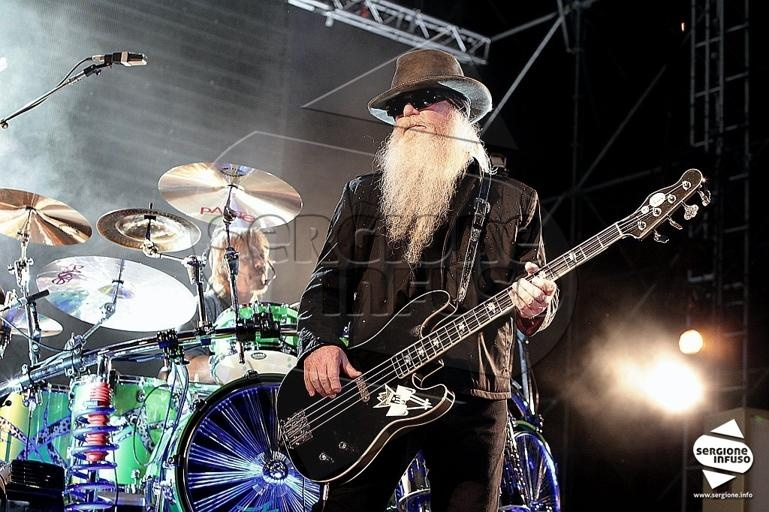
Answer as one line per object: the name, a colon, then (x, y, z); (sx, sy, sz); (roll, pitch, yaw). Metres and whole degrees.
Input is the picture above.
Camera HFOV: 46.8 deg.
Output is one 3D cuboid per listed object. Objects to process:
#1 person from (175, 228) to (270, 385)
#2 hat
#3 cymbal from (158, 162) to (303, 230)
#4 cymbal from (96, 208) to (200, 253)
person: (-1.477, 0.383, 8.292); (0.946, 1.370, 0.496); (20, 13, 13)
hat: (0.390, -1.169, 6.078); (0.692, 0.259, 0.589); (21, -38, -40)
cymbal: (-1.257, -0.545, 7.493); (1.004, 0.208, 0.984); (-5, -16, -30)
cymbal: (-2.028, -0.227, 7.621); (0.549, 0.120, 0.540); (25, -50, -35)
